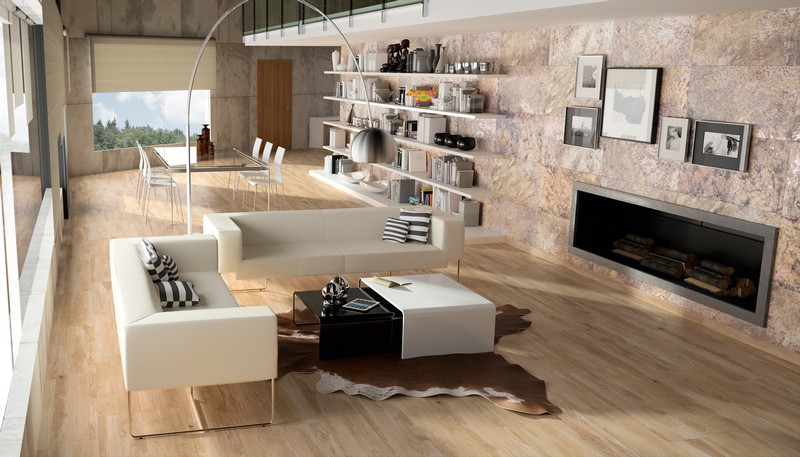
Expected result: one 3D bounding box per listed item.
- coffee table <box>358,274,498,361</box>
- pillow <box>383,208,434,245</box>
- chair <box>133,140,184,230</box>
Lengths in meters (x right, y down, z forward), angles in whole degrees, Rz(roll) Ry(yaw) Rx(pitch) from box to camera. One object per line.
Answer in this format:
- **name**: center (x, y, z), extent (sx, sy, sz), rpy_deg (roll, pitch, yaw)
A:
- **coffee table**: center (0.440, 1.029, 5.779), extent (0.932, 0.419, 1.255), rpy_deg (-1, 10, -16)
- **pillow**: center (0.152, -0.018, 7.138), extent (0.584, 0.484, 0.165), rpy_deg (3, -9, 13)
- **chair**: center (-4.923, -0.825, 10.599), extent (0.900, 1.349, 2.236), rpy_deg (-4, 16, -19)
